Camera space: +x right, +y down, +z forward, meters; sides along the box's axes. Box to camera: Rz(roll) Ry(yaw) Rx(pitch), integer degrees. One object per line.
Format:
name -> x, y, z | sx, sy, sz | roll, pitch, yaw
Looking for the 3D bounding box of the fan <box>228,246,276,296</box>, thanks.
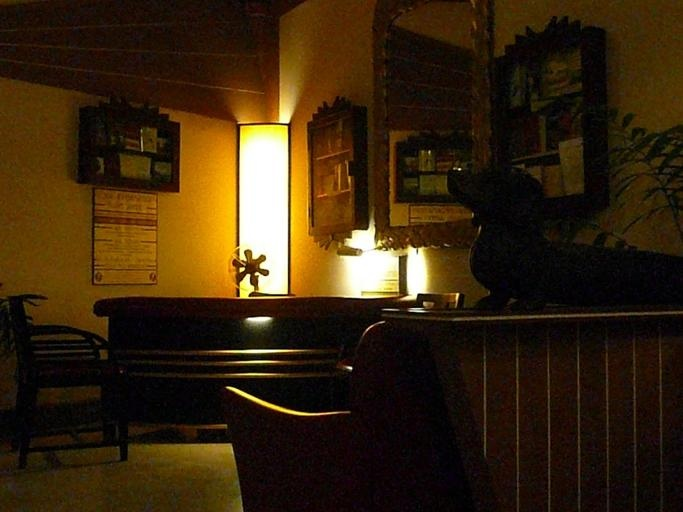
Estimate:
fan -> -0.777, 0.112, 5.409 | 0.322, 0.373, 0.397 | 0, 0, -8
